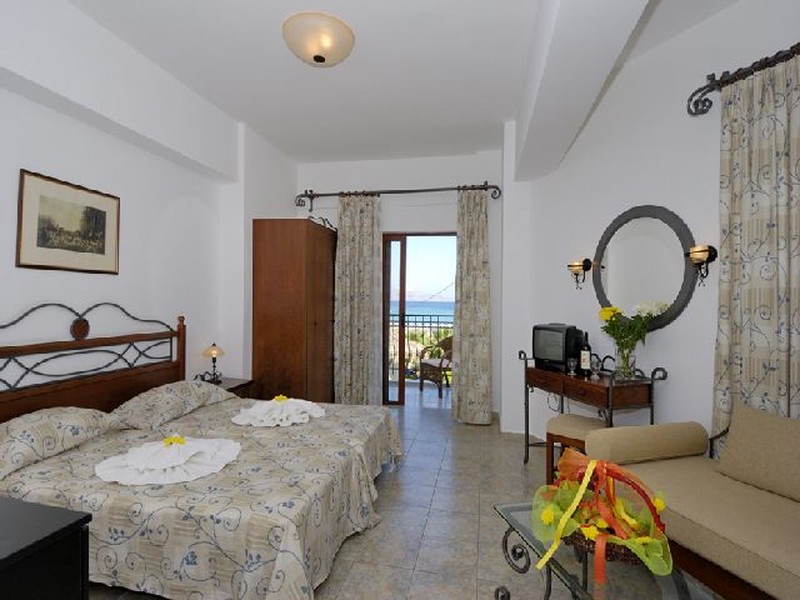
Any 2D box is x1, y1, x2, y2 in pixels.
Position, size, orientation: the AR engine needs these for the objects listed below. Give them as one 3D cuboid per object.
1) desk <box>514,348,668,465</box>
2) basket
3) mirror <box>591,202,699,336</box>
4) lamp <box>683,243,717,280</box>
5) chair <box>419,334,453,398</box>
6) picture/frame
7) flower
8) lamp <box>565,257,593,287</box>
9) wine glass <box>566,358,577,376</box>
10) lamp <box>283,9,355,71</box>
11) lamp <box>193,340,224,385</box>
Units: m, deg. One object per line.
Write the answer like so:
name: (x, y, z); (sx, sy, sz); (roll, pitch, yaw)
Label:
desk: (1.609, 0.856, 4.431); (0.383, 0.888, 1.041); (0, 0, -19)
basket: (1.049, 1.058, 2.890); (0.416, 0.310, 0.618); (-1, 1, -7)
mirror: (2.058, -0.256, 4.438); (0.119, 1.313, 1.040); (-1, 3, -31)
lamp: (2.225, -0.273, 3.985); (0.202, 0.264, 0.218); (-7, 12, -43)
chair: (0.514, 0.917, 7.635); (0.431, 0.864, 0.939); (2, 9, 4)
picture/frame: (-2.557, -0.599, 4.103); (0.079, 0.841, 0.840); (3, 0, 25)
flower: (1.874, 0.242, 4.489); (0.453, 0.658, 0.548); (-6, 6, -44)
lamp: (1.708, -0.268, 5.105); (0.258, 0.425, 0.187); (4, 3, 17)
wine glass: (1.499, 0.584, 4.701); (0.114, 0.195, 0.115); (-2, -1, 13)
lamp: (-0.585, -1.887, 3.881); (0.498, 0.341, 0.265); (-1, 9, -15)
lamp: (-1.868, 0.634, 5.392); (0.321, 0.406, 0.295); (1, 0, 23)
